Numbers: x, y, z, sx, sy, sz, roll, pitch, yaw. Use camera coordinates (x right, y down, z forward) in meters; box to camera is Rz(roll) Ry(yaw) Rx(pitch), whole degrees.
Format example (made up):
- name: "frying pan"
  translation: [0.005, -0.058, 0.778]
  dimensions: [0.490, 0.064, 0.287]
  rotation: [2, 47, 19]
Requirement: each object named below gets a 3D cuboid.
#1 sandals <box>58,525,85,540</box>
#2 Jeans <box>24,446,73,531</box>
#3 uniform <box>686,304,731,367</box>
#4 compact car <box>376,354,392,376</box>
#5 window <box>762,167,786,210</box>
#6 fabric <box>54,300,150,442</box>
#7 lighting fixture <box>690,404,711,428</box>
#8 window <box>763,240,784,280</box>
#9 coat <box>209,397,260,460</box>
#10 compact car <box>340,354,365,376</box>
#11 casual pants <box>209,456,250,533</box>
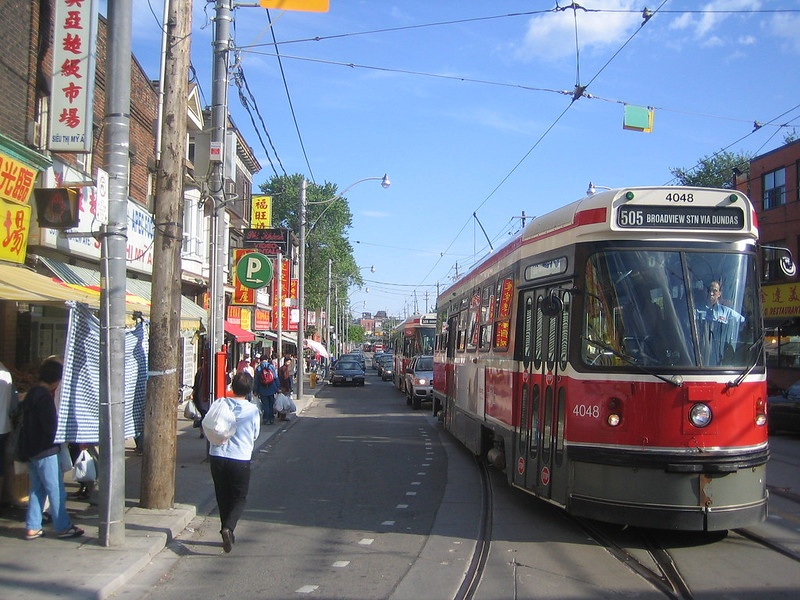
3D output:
- name: "sandals"
  translation: [-4.143, 2.936, 8.961]
  dimensions: [0.287, 0.143, 0.111]
  rotation: [0, 3, -20]
- name: "Jeans"
  translation: [-4.412, 2.401, 8.913]
  dimensions: [0.542, 1.052, 0.319]
  rotation: [2, -7, -11]
- name: "uniform"
  translation: [3.821, 0.462, 8.855]
  dimensions: [0.531, 0.985, 0.281]
  rotation: [5, -22, 3]
- name: "compact car"
  translation: [-1.038, 4.592, 51.408]
  dimensions: [1.022, 1.107, 1.936]
  rotation: [1, -9, -9]
- name: "window"
  translation: [17.539, -5.318, 33.252]
  dimensions: [1.428, 1.656, 0.062]
  rotation: [-16, 13, -14]
- name: "fabric"
  translation: [-4.022, 1.018, 9.608]
  dimensions: [0.269, 2.267, 1.918]
  rotation: [-3, -8, 28]
- name: "lighting fixture"
  translation: [3.653, 1.398, 8.638]
  dimensions: [0.287, 0.284, 0.067]
  rotation: [3, -7, -17]
- name: "window"
  translation: [15.558, -1.693, 29.630]
  dimensions: [0.829, 1.705, 1.615]
  rotation: [-2, -1, 22]
- name: "coat"
  translation: [-2.061, 1.620, 8.847]
  dimensions: [0.573, 0.784, 0.270]
  rotation: [3, -7, -18]
- name: "compact car"
  translation: [-2.922, 3.956, 43.523]
  dimensions: [0.944, 0.881, 2.468]
  rotation: [0, -10, -1]
- name: "casual pants"
  translation: [-2.107, 2.361, 8.839]
  dimensions: [0.464, 1.183, 0.411]
  rotation: [7, 12, 8]
